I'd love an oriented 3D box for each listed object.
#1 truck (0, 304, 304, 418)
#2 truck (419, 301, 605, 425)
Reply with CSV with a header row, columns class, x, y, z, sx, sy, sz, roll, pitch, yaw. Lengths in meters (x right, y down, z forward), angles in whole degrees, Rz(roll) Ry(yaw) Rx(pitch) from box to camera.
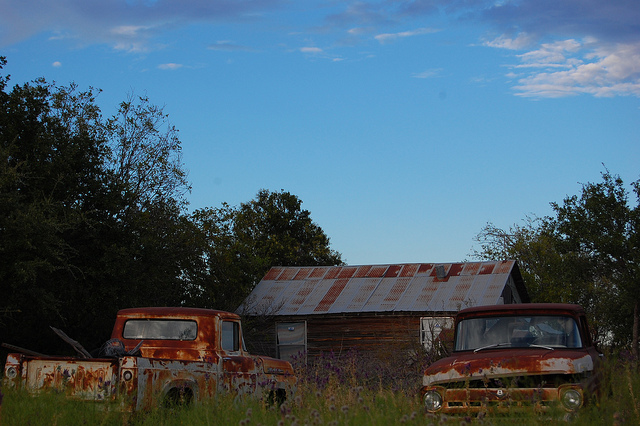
class,x,y,z,sx,sy,sz,roll,pitch,yaw
truck,-3.716,3.155,14.408,5.924,2.322,3.789,1,-9,-13
truck,3.670,2.661,12.398,3.553,2.010,3.064,0,-8,-5
